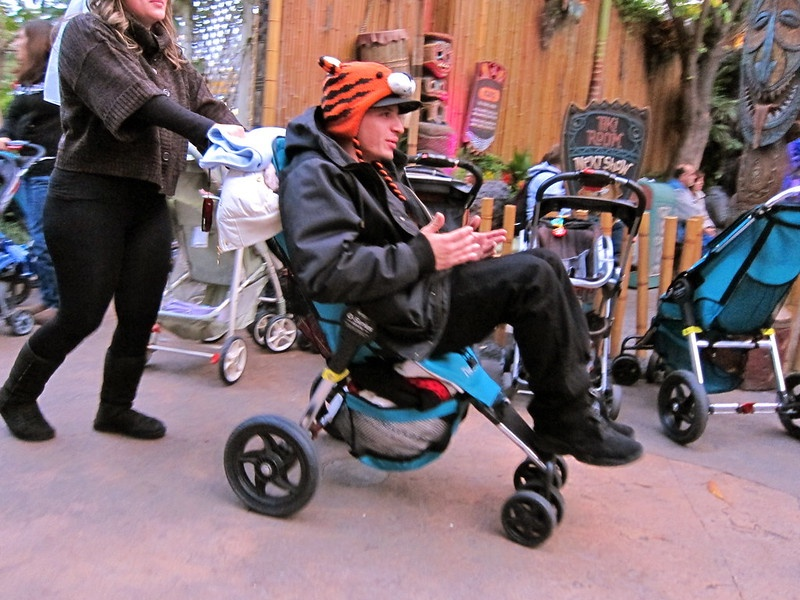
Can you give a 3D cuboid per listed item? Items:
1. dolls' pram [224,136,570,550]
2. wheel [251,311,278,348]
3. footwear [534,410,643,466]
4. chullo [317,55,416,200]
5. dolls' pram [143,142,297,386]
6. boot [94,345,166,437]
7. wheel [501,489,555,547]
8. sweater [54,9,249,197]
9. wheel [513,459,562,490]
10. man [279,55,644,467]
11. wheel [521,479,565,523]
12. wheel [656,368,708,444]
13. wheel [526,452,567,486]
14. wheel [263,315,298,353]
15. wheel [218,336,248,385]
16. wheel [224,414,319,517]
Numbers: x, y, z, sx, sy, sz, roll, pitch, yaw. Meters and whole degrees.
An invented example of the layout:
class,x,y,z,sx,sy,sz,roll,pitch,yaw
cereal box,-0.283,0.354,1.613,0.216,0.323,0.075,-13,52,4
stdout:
class,x,y,z,sx,sy,sz,roll,pitch,yaw
dolls' pram,0.105,0.120,2.685,1.345,1.560,1.069,3,7,21
wheel,-1.013,0.216,4.457,0.105,0.262,0.270,7,2,35
footwear,0.764,0.567,2.445,0.410,0.170,0.212,2,14,11
chullo,-0.143,-0.789,2.755,0.421,0.563,0.427,-6,3,6
dolls' pram,-1.213,-0.368,4.005,0.951,1.472,0.924,-11,27,-42
boot,-1.363,0.491,3.033,0.363,0.392,0.210,12,10,3
wheel,0.530,0.895,2.410,0.201,0.195,0.078,-13,-4,30
sweater,-1.089,-0.935,2.737,0.917,0.797,0.754,-1,11,-20
wheel,0.621,0.755,2.649,0.180,0.052,0.179,-3,-19,-1
man,0.270,-0.177,2.556,1.440,1.699,0.976,-1,13,11
wheel,0.587,0.828,2.428,0.194,0.188,0.063,-12,-1,36
wheel,1.704,0.650,3.544,0.141,0.464,0.431,4,-1,-17
wheel,0.664,0.735,2.625,0.191,0.043,0.188,-1,5,0
wheel,-0.905,0.244,4.432,0.096,0.242,0.244,4,-17,40
wheel,-1.080,0.392,3.810,0.058,0.236,0.247,3,24,16
wheel,-0.532,0.703,2.471,0.421,0.407,0.138,6,1,12
